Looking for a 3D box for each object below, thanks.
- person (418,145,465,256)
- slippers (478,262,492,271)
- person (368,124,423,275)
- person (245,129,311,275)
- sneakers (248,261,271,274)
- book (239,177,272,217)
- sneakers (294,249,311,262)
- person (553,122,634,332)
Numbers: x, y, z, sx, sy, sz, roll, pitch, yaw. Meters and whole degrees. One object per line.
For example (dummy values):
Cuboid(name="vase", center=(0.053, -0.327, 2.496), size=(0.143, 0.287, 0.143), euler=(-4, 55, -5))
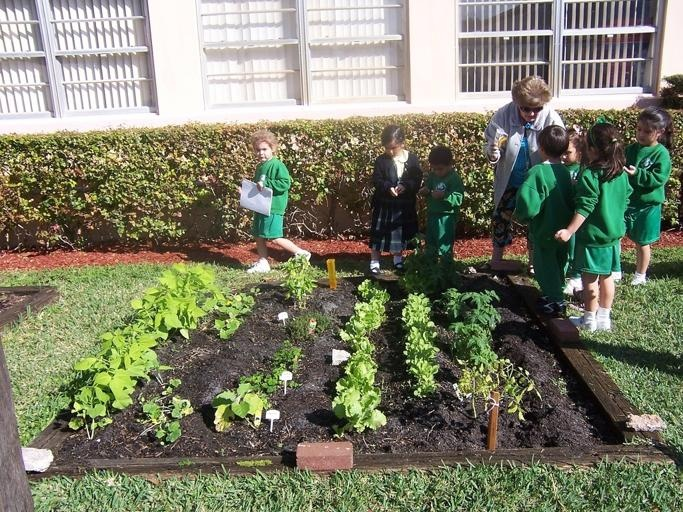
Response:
Cuboid(name="person", center=(1.121, -0.637, 5.639), size=(0.438, 1.124, 0.335), euler=(3, 17, 16))
Cuboid(name="slippers", center=(1.638, 0.122, 5.782), size=(0.111, 0.028, 0.109), euler=(-10, 16, -25))
Cuboid(name="person", center=(0.635, -0.626, 5.901), size=(0.603, 1.724, 0.490), euler=(-1, 16, 2))
Cuboid(name="person", center=(-0.884, -0.665, 6.215), size=(0.621, 1.689, 0.538), euler=(-4, 16, -9))
Cuboid(name="sneakers", center=(-1.000, 0.133, 6.284), size=(0.347, 0.188, 0.114), euler=(0, 1, 3))
Cuboid(name="book", center=(-1.005, -0.690, 6.094), size=(0.377, 0.422, 0.260), euler=(-1, 16, 2))
Cuboid(name="sneakers", center=(-0.426, -0.006, 5.577), size=(0.129, 0.123, 0.109), euler=(-20, 40, -27))
Cuboid(name="person", center=(2.137, -0.233, 4.323), size=(0.529, 1.724, 0.513), euler=(4, 17, 18))
